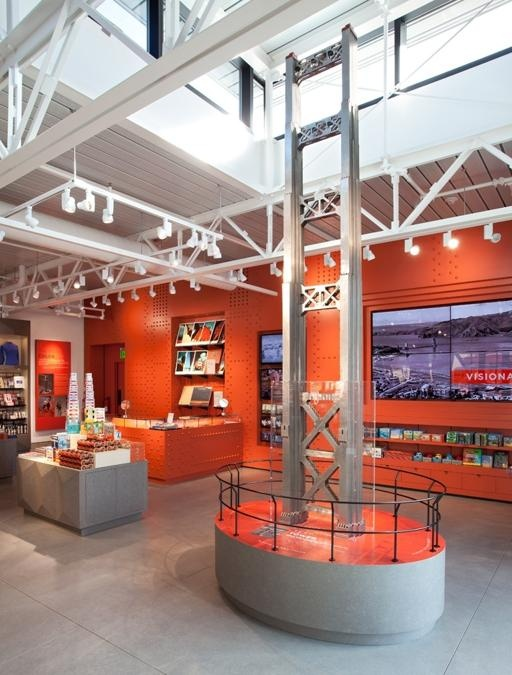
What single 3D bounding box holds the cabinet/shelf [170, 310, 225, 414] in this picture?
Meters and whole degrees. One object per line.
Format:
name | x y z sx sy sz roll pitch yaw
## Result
cabinet/shelf | -1.364 0.684 12.255 1.724 2.415 0.515 -4 -6 38
